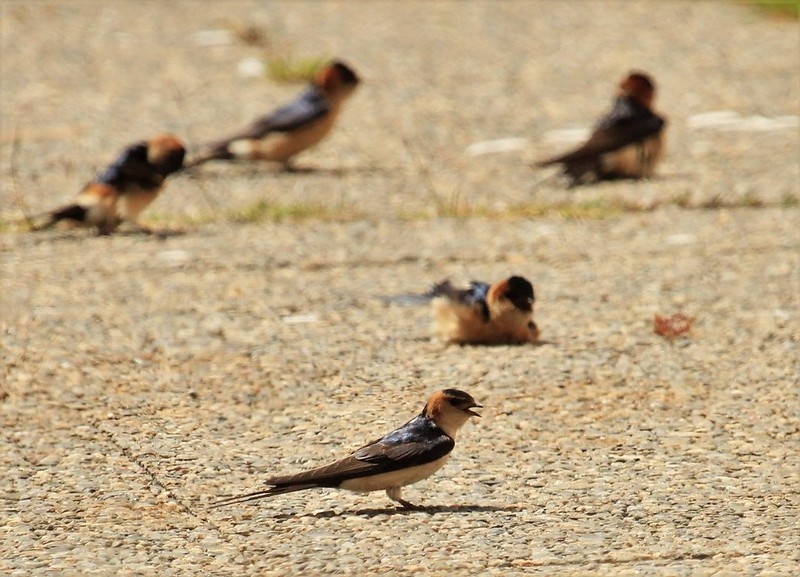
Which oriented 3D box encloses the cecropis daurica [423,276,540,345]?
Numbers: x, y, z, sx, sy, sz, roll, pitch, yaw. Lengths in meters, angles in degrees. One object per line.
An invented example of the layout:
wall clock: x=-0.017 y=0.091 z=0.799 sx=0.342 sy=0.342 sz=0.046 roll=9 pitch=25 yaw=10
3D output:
cecropis daurica: x=0.805 y=0.213 z=13.799 sx=1.078 sy=0.847 sz=0.432 roll=11 pitch=54 yaw=3

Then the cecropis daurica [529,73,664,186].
cecropis daurica: x=2.415 y=-1.788 z=16.755 sx=1.885 sy=1.128 sz=0.938 roll=-15 pitch=21 yaw=17
